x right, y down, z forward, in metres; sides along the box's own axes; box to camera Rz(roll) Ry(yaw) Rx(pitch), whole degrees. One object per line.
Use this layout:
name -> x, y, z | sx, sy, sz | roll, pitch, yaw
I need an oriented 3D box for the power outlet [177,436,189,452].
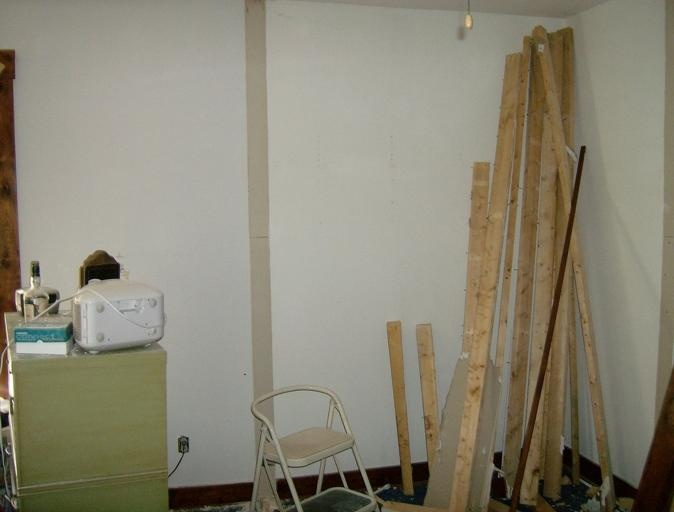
power outlet -> -1.124, 1.367, 4.729 | 0.095, 0.158, 0.019 | 1, 4, -10
